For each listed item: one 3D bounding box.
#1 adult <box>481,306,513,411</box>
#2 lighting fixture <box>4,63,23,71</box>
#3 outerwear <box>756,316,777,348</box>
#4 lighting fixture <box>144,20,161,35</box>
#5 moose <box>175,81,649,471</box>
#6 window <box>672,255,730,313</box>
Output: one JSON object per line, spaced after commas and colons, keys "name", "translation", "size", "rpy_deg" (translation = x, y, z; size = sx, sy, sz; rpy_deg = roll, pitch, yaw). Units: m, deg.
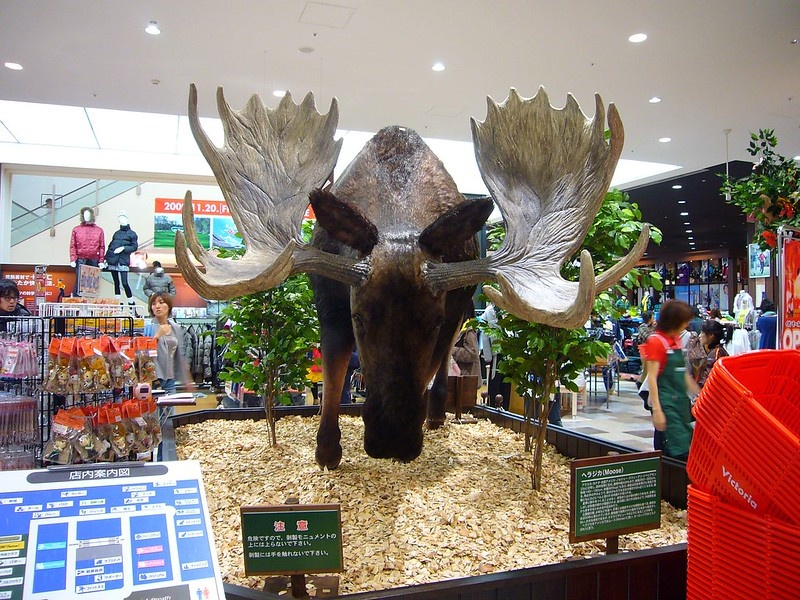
{"name": "adult", "translation": [1.032, 0.562, 7.033], "size": [0.283, 1.139, 0.381], "rpy_deg": [-6, 32, -15]}
{"name": "lighting fixture", "translation": [-5.218, -3.175, 8.168], "size": [0.206, 0.037, 0.266], "rpy_deg": [-5, 8, -37]}
{"name": "outerwear", "translation": [5.498, 0.489, 9.087], "size": [0.200, 0.593, 0.814], "rpy_deg": [2, 6, 27]}
{"name": "lighting fixture", "translation": [-2.983, -3.296, 7.316], "size": [0.184, 0.062, 0.308], "rpy_deg": [-4, 7, -33]}
{"name": "moose", "translation": [0.000, -0.494, 4.137], "size": [2.087, 2.158, 2.658], "rpy_deg": [2, 7, -3]}
{"name": "window", "translation": [10.471, -0.523, 21.291], "size": [0.259, 1.894, 1.998], "rpy_deg": [6, -6, -39]}
